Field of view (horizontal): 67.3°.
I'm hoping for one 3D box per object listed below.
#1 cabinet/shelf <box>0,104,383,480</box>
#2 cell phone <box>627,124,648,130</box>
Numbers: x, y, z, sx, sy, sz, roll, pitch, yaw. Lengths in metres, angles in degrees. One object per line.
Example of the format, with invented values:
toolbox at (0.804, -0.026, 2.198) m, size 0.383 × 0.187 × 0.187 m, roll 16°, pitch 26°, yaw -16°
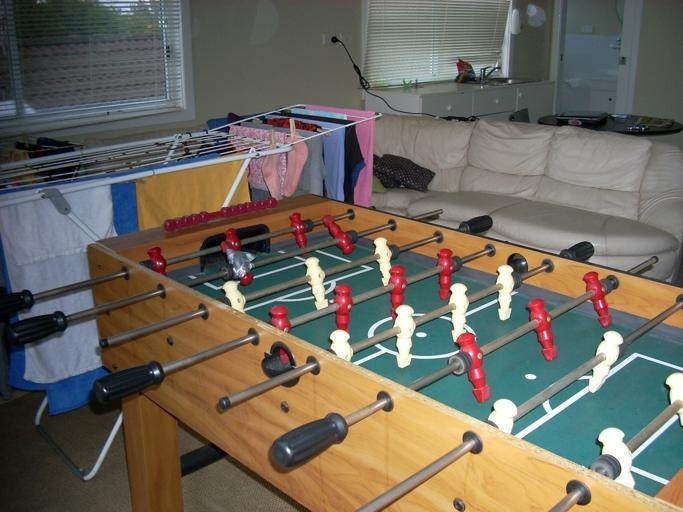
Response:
cabinet/shelf at (-0.464, -0.060, 3.318) m, size 2.820 × 1.547 × 1.409 m, roll -22°, pitch 36°, yaw -35°
cell phone at (2.776, -1.198, 4.754) m, size 0.091 × 0.037 × 0.131 m, roll -20°, pitch 25°, yaw -41°
